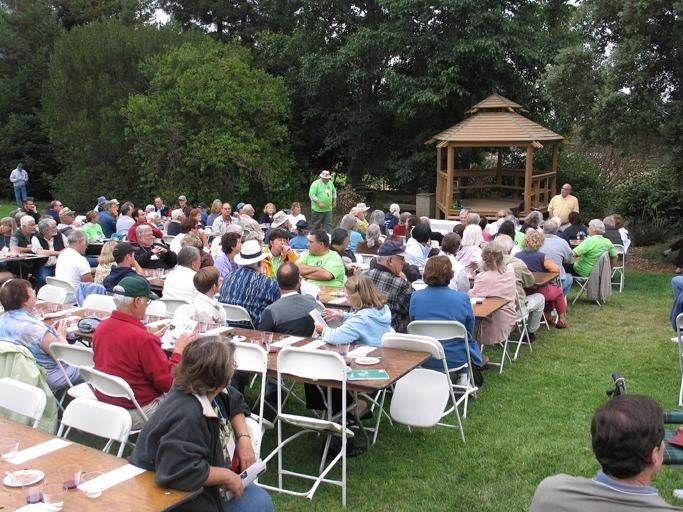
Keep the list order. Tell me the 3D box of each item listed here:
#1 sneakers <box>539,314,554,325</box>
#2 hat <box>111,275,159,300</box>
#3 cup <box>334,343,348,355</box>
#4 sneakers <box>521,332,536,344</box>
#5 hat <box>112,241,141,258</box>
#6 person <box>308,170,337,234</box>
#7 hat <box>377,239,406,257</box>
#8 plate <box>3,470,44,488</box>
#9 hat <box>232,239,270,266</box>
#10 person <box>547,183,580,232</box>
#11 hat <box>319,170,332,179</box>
[{"bbox_3d":[3.355,1.017,11.057,0.104,0.142,0.323,0,6,23],"label":"sneakers"},{"bbox_3d":[-1.850,0.281,6.200,0.352,0.193,0.241,0,7,-38],"label":"hat"},{"bbox_3d":[0.016,0.918,6.799,0.091,0.090,0.106,1,3,40],"label":"cup"},{"bbox_3d":[2.776,1.208,10.104,0.154,0.190,0.182,-1,15,31],"label":"sneakers"},{"bbox_3d":[-2.761,-0.047,8.826,0.220,0.194,0.321,7,16,40],"label":"hat"},{"bbox_3d":[-0.420,-1.238,16.744,0.685,1.796,0.577,-4,21,-10],"label":"person"},{"bbox_3d":[0.652,-0.104,8.818,0.274,0.150,0.196,-9,13,-39],"label":"hat"},{"bbox_3d":[-2.233,1.561,4.804,0.154,0.028,0.158,3,9,-18],"label":"plate"},{"bbox_3d":[-1.105,-0.035,8.215,0.284,0.136,0.337,2,17,14],"label":"hat"},{"bbox_3d":[4.959,-0.811,15.275,0.668,1.563,0.494,4,10,16],"label":"person"},{"bbox_3d":[-0.347,-1.858,15.818,0.261,0.128,0.318,2,19,-10],"label":"hat"}]
